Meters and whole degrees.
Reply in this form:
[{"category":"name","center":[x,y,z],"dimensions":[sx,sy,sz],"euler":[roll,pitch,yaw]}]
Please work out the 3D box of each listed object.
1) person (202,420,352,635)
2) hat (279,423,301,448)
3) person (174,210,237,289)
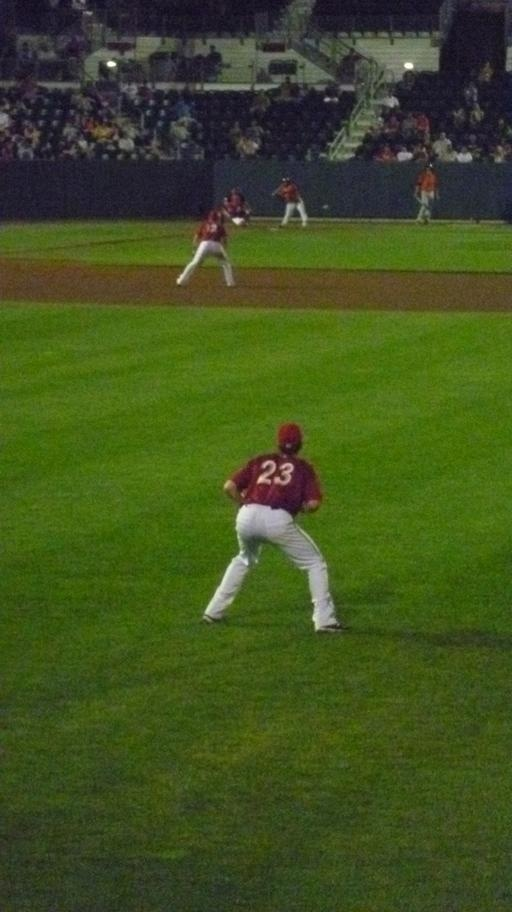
[{"category":"person","center":[0.106,0.334,7.432],"dimensions":[0.638,1.106,0.462],"euler":[3,14,10]},{"category":"hat","center":[0.194,-0.108,7.321],"dimensions":[0.080,0.109,0.125],"euler":[4,20,0]},{"category":"person","center":[-0.554,-2.621,17.973],"dimensions":[0.596,0.371,1.266],"euler":[1,58,4]}]
